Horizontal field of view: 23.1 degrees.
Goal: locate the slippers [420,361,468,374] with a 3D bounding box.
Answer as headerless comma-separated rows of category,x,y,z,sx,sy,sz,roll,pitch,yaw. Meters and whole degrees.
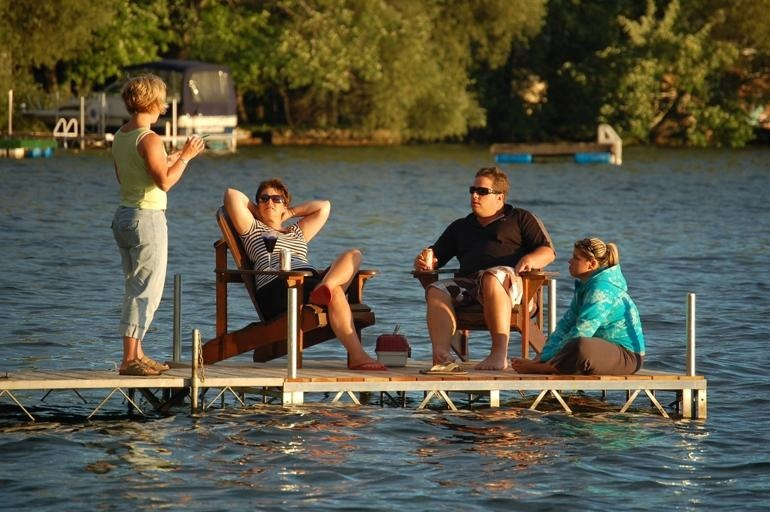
slippers,1.158,2.350,38.762,0.694,0.232,0.368,-2,-1,-1

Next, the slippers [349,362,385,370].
slippers,-0.423,2.273,38.799,0.594,0.118,0.227,-1,1,6
